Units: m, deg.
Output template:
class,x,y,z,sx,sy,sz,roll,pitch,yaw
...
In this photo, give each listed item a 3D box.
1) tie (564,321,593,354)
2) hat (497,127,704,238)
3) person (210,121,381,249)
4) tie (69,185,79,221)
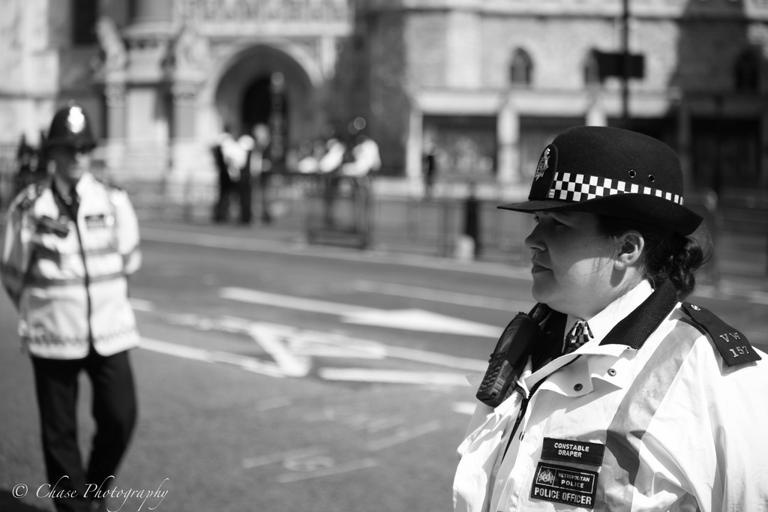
class,x,y,z,sx,sy,sz,roll,pitch,yaw
tie,0.621,0.254,3.449,0.067,0.113,0.043,31,-10,41
hat,0.716,-0.214,3.429,0.428,0.186,0.353,9,-2,-17
person,-0.446,-0.422,6.026,0.740,0.491,0.761,3,8,17
tie,-1.593,-0.274,5.507,0.040,0.131,0.093,3,5,-14
